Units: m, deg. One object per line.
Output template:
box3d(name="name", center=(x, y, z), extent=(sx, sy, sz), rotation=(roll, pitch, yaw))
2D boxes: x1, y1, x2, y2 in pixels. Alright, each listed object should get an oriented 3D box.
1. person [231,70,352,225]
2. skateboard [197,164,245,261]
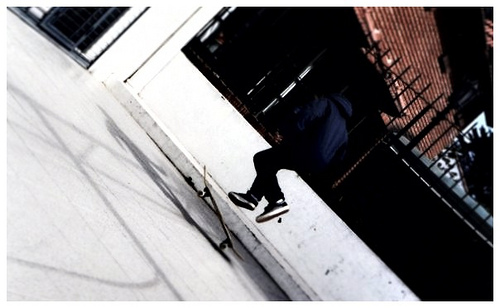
box3d(name="person", center=(0.858, -0.110, 8.499), extent=(1.103, 2.687, 0.370), rotation=(35, -9, -1))
box3d(name="skateboard", center=(-0.443, 0.974, 8.474), extent=(1.615, 0.235, 0.224), rotation=(65, 13, 5))
